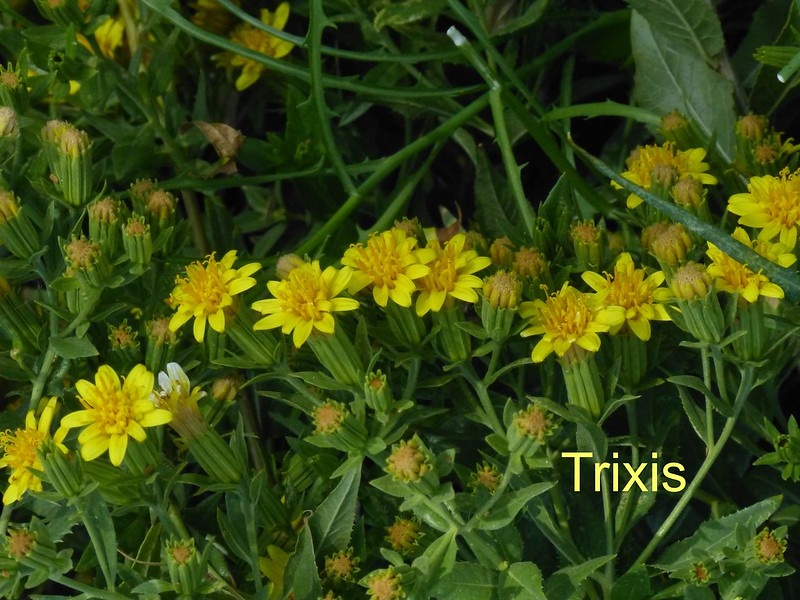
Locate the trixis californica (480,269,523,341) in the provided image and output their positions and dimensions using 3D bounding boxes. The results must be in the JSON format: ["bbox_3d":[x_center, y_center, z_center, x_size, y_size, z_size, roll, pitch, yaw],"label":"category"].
[{"bbox_3d":[0.078,0.003,0.643,0.031,0.034,0.048,-4,60,8],"label":"trixis californica"}]

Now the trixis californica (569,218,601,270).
[{"bbox_3d":[0.156,-0.046,0.704,0.021,0.040,0.025,-15,48,6],"label":"trixis californica"}]

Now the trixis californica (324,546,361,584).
[{"bbox_3d":[-0.045,0.209,0.663,0.025,0.015,0.027,3,92,-6],"label":"trixis californica"}]

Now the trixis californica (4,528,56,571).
[{"bbox_3d":[-0.272,0.184,0.619,0.022,0.038,0.024,1,62,32],"label":"trixis californica"}]

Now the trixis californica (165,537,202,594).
[{"bbox_3d":[-0.156,0.194,0.616,0.024,0.029,0.038,-11,59,4],"label":"trixis californica"}]

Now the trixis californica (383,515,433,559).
[{"bbox_3d":[0.009,0.182,0.682,0.031,0.029,0.032,27,101,18],"label":"trixis californica"}]

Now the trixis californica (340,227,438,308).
[{"bbox_3d":[-0.008,-0.025,0.647,0.066,0.031,0.063,-43,63,-15],"label":"trixis californica"}]

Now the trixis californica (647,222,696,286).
[{"bbox_3d":[0.210,-0.034,0.664,0.035,0.042,0.044,-2,72,10],"label":"trixis californica"}]

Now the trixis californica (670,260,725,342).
[{"bbox_3d":[0.220,-0.001,0.617,0.033,0.061,0.034,-21,21,0],"label":"trixis californica"}]

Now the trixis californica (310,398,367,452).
[{"bbox_3d":[-0.044,0.093,0.631,0.026,0.042,0.027,-46,35,-1],"label":"trixis californica"}]
